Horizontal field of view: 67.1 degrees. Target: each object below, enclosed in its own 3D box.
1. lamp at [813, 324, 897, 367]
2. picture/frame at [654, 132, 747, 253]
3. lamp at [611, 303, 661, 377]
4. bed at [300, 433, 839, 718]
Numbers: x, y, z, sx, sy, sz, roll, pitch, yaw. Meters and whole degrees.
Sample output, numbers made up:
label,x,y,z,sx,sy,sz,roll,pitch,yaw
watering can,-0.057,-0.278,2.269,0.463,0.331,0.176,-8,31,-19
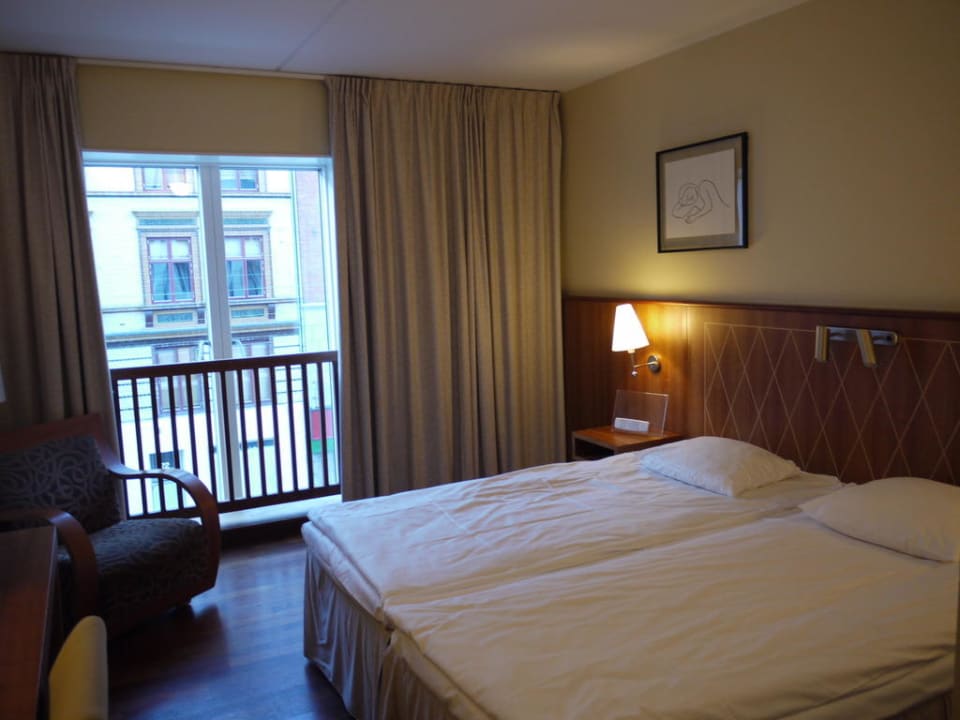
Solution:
label,x,y,z,sx,sy,sz,roll,pitch,yaw
lamp,1.811,-0.074,3.546,0.091,0.196,0.398,-9,9,-38
picture/frame,1.319,-1.007,4.278,0.029,0.801,0.719,-4,4,-35
lamp,0.953,-0.131,4.674,0.272,0.488,0.354,-6,8,-20
bed,0.424,0.719,3.370,2.008,0.744,1.191,-5,8,-26
